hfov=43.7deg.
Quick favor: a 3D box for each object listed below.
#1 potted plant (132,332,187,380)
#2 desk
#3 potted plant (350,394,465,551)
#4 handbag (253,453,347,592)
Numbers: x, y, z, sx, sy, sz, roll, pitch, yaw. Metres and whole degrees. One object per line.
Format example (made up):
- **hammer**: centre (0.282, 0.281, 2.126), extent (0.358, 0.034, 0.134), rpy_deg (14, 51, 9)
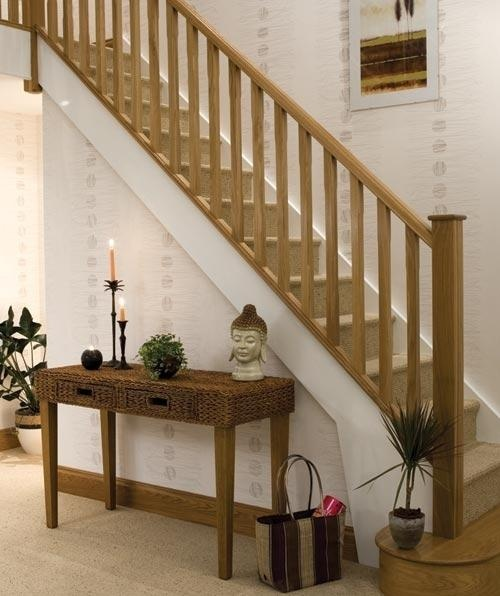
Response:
- **potted plant**: centre (-0.347, 0.242, 2.542), extent (0.167, 0.165, 0.174), rpy_deg (-4, -8, 32)
- **desk**: centre (-0.391, 0.687, 2.674), extent (1.038, 0.783, 0.493), rpy_deg (1, 3, 33)
- **potted plant**: centre (0.547, 0.521, 2.200), extent (0.372, 0.593, 0.414), rpy_deg (2, 5, 28)
- **handbag**: centre (0.196, 0.812, 2.254), extent (0.397, 0.611, 0.192), rpy_deg (1, -5, -36)
